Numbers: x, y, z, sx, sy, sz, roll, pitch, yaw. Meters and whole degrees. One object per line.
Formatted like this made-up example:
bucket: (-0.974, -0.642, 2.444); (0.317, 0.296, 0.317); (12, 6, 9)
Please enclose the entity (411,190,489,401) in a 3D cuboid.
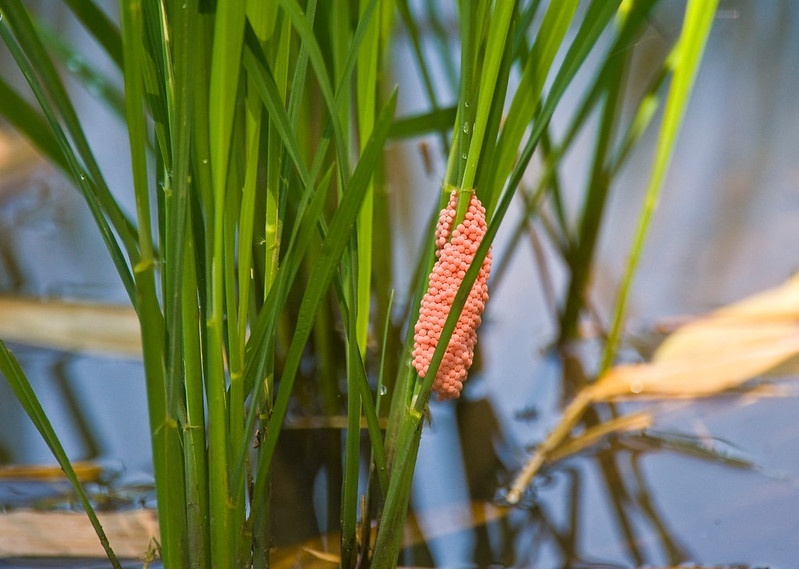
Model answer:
entity: (0.048, 0.007, 0.695); (0.057, 0.159, 0.088); (2, -15, -35)
